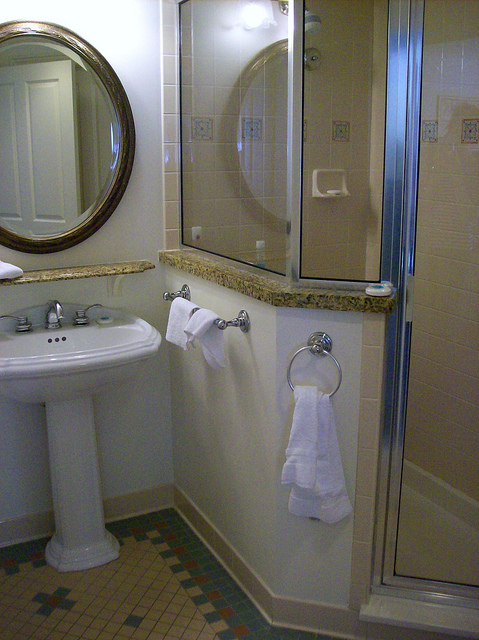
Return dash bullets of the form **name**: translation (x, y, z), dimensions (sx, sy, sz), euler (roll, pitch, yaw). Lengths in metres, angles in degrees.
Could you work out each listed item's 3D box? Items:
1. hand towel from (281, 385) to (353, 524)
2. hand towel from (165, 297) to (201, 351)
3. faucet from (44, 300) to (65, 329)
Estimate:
- **hand towel**: translation (0.207, 0.366, 1.346), dimensions (0.185, 0.393, 0.125), euler (1, 8, 7)
- **hand towel**: translation (-0.181, 0.008, 1.594), dimensions (0.066, 0.159, 0.121), euler (-3, 17, -23)
- **faucet**: translation (-0.608, -0.014, 1.721), dimensions (0.076, 0.117, 0.105), euler (-4, 20, -26)
